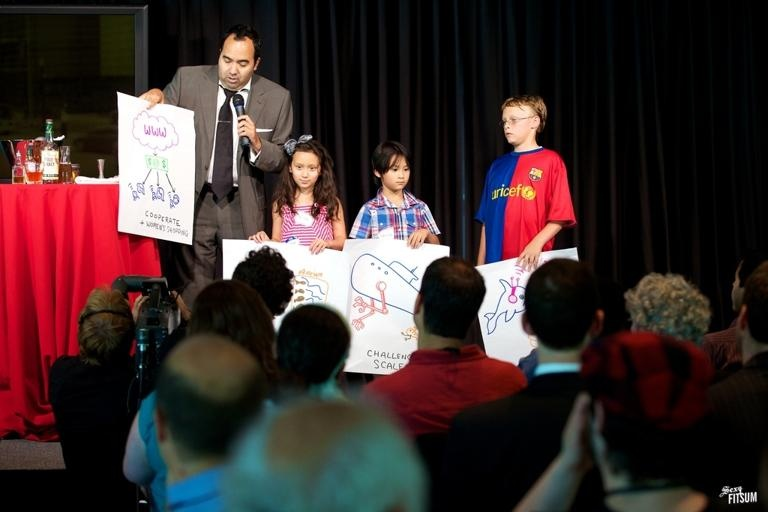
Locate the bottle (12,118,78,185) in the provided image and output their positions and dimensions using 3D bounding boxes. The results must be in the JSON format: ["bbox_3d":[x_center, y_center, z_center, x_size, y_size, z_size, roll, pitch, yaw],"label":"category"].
[{"bbox_3d":[-2.028,-0.595,4.069,0.264,0.484,0.451,0,3,-36],"label":"bottle"}]

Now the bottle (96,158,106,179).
[{"bbox_3d":[-1.752,-0.541,4.256,0.022,0.129,0.243,0,3,-18],"label":"bottle"}]

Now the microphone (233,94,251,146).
[{"bbox_3d":[-0.819,-0.788,3.950,0.094,0.319,0.242,0,3,-14],"label":"microphone"}]

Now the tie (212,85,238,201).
[{"bbox_3d":[-0.956,-0.670,4.067,0.118,0.656,0.103,0,2,-10],"label":"tie"}]
